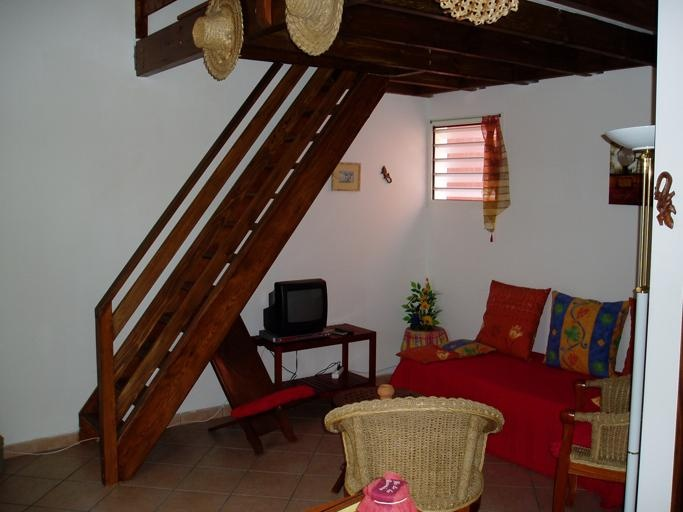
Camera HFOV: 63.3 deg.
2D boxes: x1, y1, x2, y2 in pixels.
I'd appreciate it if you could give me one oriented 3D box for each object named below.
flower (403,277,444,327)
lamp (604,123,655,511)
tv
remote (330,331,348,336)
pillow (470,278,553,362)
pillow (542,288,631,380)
[{"bbox_3d":[0.954,0.565,6.551,0.501,0.586,0.259,1,-6,-14],"label":"flower"},{"bbox_3d":[1.612,0.351,3.129,0.198,2.115,0.383,-1,8,-4],"label":"lamp"},{"bbox_3d":[-0.475,0.529,5.635,0.662,0.540,0.708,-2,0,26],"label":"tv"},{"bbox_3d":[-0.015,0.791,5.658,0.081,0.023,0.057,5,7,11],"label":"remote"},{"bbox_3d":[1.661,0.607,5.422,0.177,0.677,0.654,19,-1,-30],"label":"pillow"},{"bbox_3d":[2.189,0.712,4.928,0.580,0.557,0.322,7,-32,50],"label":"pillow"}]
